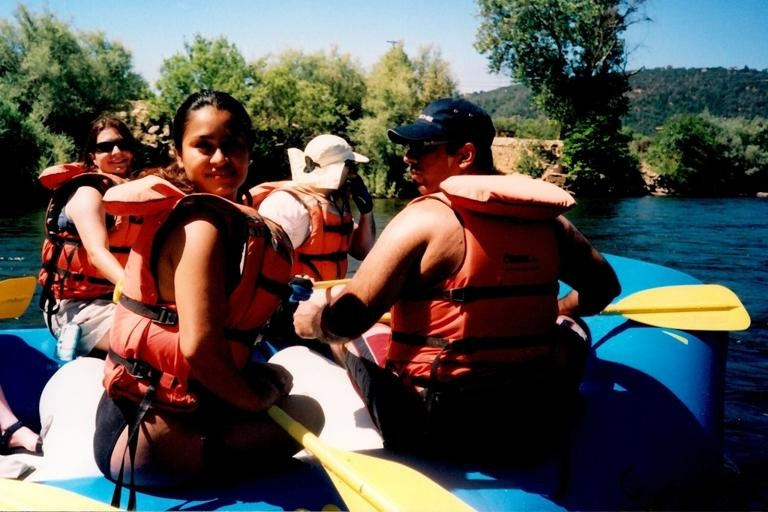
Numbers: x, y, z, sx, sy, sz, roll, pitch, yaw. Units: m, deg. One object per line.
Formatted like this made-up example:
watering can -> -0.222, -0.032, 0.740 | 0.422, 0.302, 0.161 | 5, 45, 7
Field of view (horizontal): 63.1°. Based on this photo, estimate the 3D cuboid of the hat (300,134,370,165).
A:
hat -> -0.345, -0.770, 4.583 | 0.429, 0.180, 0.274 | -3, 10, -25

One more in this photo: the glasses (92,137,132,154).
glasses -> -1.852, -0.756, 4.278 | 0.144, 0.048, 0.148 | -6, -27, -20

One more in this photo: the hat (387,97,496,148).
hat -> 0.290, -0.622, 3.069 | 0.393, 0.206, 0.260 | 2, 4, -13

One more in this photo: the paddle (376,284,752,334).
paddle -> 0.903, 0.267, 3.111 | 1.296, 0.052, 0.382 | -2, 46, -2
